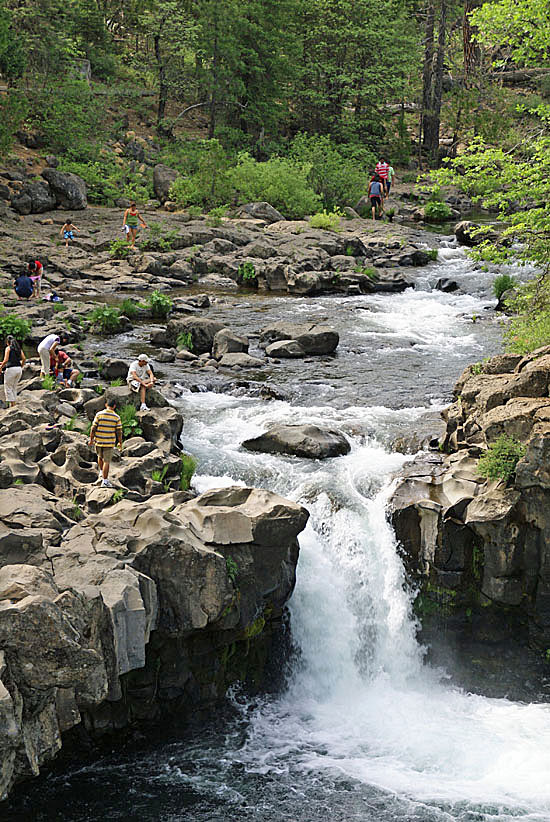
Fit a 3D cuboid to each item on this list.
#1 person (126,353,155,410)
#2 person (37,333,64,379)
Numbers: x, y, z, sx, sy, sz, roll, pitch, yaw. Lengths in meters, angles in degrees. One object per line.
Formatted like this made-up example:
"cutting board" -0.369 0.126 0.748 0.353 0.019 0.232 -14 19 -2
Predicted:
"person" -2.340 -0.542 13.904 0.407 0.918 1.305 2 9 -10
"person" -4.425 -1.080 15.557 0.311 0.768 0.927 2 9 -14
